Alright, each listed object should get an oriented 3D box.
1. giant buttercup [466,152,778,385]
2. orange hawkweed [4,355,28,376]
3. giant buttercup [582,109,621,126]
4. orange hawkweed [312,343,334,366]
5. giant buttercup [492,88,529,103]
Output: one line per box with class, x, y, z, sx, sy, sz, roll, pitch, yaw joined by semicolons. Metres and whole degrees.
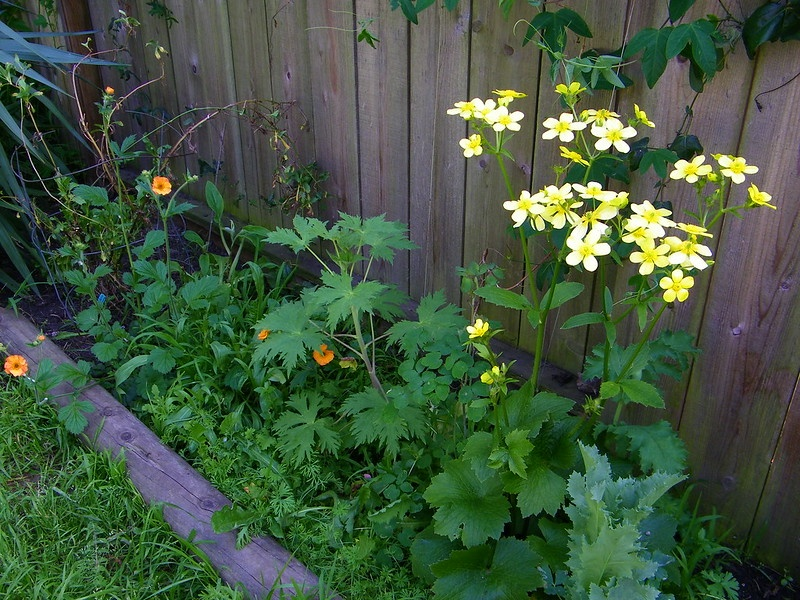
giant buttercup;0.624;-0.094;1.607;0.610;0.724;0.686;21;37;31
orange hawkweed;-1.579;0.268;2.305;0.085;0.059;0.077;11;34;17
giant buttercup;0.534;-0.494;1.501;0.094;0.037;0.104;0;27;8
orange hawkweed;-0.311;0.214;2.198;0.081;0.085;0.035;24;3;7
giant buttercup;0.306;-0.578;1.586;0.122;0.035;0.136;-2;21;1
